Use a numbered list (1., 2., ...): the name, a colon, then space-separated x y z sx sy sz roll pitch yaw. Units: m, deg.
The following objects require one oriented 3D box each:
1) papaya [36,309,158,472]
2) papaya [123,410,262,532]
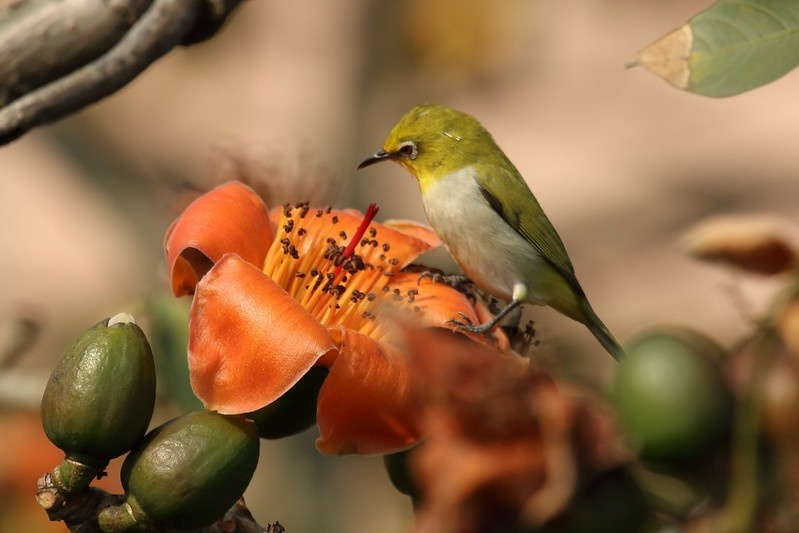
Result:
1. papaya: -0.487 0.207 1.464 0.181 0.242 0.085 -7 11 -16
2. papaya: -0.317 0.332 1.519 0.206 0.152 0.128 -35 -13 -2
